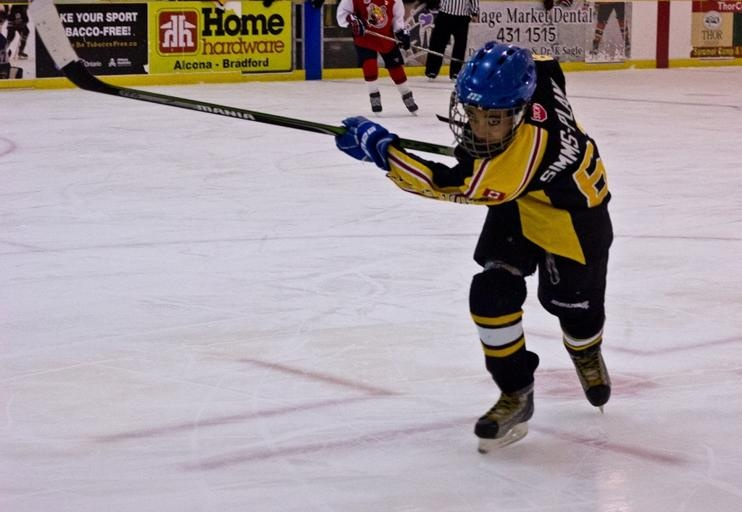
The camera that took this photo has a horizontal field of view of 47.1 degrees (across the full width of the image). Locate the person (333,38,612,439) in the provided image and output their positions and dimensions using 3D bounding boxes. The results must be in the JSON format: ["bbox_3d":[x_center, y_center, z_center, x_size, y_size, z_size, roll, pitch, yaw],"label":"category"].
[{"bbox_3d":[0.417,-0.051,2.951,0.612,1.336,0.579,-14,21,-33],"label":"person"}]

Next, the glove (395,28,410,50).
[{"bbox_3d":[0.399,-2.239,8.818,0.129,0.186,0.178,-17,0,-28],"label":"glove"}]

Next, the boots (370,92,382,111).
[{"bbox_3d":[0.054,-1.585,8.851,0.118,0.224,0.110,-11,13,1],"label":"boots"}]

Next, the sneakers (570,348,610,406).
[{"bbox_3d":[0.787,0.422,3.086,0.102,0.231,0.132,-26,-16,22],"label":"sneakers"}]

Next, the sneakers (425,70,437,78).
[{"bbox_3d":[0.838,-2.518,11.786,0.202,0.062,0.208,2,6,1],"label":"sneakers"}]
